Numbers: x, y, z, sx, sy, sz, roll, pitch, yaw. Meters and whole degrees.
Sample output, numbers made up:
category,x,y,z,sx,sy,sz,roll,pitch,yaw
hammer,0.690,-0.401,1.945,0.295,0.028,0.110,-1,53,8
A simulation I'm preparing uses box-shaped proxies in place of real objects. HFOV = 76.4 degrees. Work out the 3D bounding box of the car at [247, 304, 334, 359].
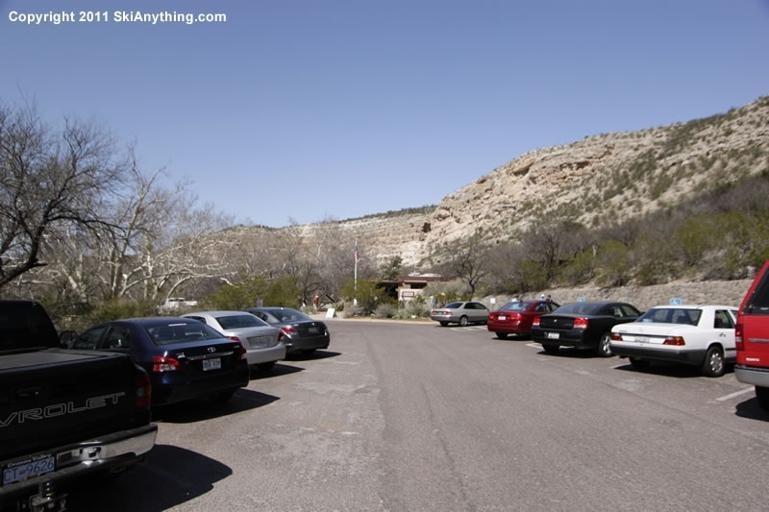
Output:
category,x,y,z,sx,sy,sz,roll,pitch,yaw
car,-2.718,2.417,15.538,1.260,0.977,2.913,3,-2,-42

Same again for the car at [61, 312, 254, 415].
category,x,y,z,sx,sy,sz,roll,pitch,yaw
car,-4.915,2.057,10.311,3.648,1.269,1.736,-1,-6,35

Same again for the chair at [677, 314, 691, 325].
category,x,y,z,sx,sy,sz,roll,pitch,yaw
chair,7.727,1.641,12.549,0.212,0.163,0.218,-3,-11,-4

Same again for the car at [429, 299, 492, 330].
category,x,y,z,sx,sy,sz,roll,pitch,yaw
car,4.854,3.560,29.405,3.467,1.050,1.471,0,-2,-37

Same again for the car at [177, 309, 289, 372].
category,x,y,z,sx,sy,sz,roll,pitch,yaw
car,-4.309,2.290,13.733,1.317,1.027,3.023,6,-4,-44

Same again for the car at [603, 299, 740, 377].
category,x,y,z,sx,sy,sz,roll,pitch,yaw
car,7.534,2.032,12.448,3.328,1.144,1.584,-1,-3,-37
